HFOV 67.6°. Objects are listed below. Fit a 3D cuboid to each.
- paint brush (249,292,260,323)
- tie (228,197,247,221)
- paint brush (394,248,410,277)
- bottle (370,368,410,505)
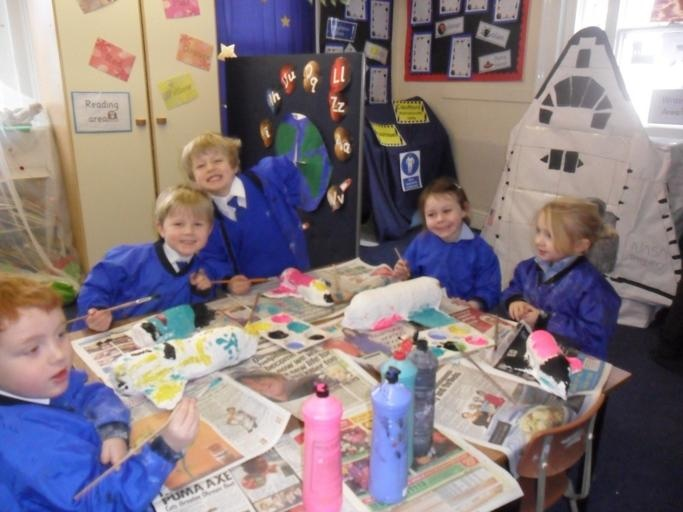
[{"bbox_3d":[-0.319,0.188,1.847,0.012,0.012,0.113,23,41,-5],"label":"paint brush"},{"bbox_3d":[-0.466,-0.211,2.270,0.070,0.089,0.044,-12,3,-30],"label":"tie"},{"bbox_3d":[0.303,0.029,2.579,0.057,0.155,0.040,-21,-22,8],"label":"paint brush"},{"bbox_3d":[0.107,0.399,1.142,0.088,0.280,0.109,1,20,6],"label":"bottle"}]
